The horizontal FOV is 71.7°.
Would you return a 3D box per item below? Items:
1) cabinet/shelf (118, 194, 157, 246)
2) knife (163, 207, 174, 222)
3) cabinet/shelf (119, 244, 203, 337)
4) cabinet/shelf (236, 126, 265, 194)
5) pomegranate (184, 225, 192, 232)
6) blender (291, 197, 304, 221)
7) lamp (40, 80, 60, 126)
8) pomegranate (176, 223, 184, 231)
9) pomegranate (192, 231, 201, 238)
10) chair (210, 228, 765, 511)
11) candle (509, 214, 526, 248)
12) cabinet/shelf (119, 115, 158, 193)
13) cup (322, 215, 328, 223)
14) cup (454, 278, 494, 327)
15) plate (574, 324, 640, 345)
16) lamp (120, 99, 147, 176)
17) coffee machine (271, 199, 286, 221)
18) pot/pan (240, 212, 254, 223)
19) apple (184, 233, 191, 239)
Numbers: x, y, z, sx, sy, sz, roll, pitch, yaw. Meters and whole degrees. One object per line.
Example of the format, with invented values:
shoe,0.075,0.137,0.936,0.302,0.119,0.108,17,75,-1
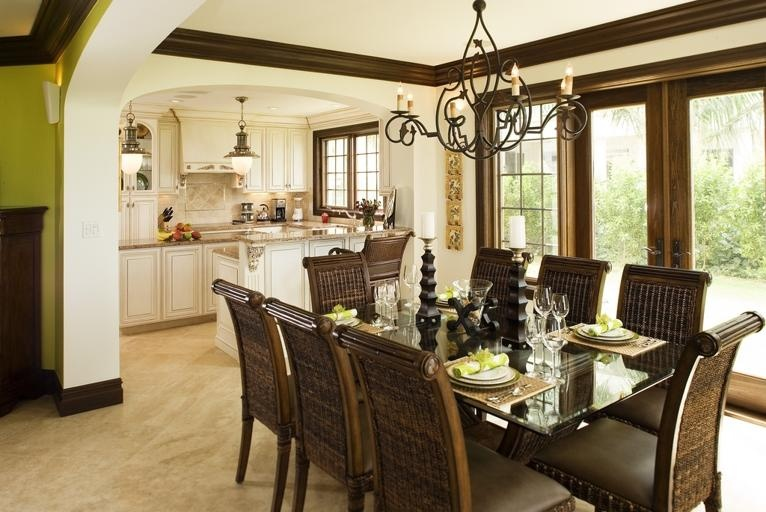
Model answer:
cabinet/shelf,-3.313,-0.564,7.238,0.454,0.769,0.447,2,34,-18
knife,-3.105,-0.572,7.591,0.133,0.214,0.244,-7,16,-22
cabinet/shelf,-2.719,0.407,6.359,1.098,1.012,0.378,-1,1,-38
cabinet/shelf,-1.965,-1.350,7.485,0.362,0.973,1.729,-4,15,-13
pomegranate,-2.525,-0.355,6.823,0.114,0.082,0.147,6,7,-20
blender,-1.443,-0.784,8.916,0.195,0.383,0.377,-3,15,-9
lamp,-2.800,-1.289,4.484,0.353,0.346,0.114,12,20,41
pomegranate,-2.586,-0.358,6.719,0.086,0.087,0.100,-22,2,6
pomegranate,-2.351,-0.257,6.658,0.080,0.051,0.084,18,9,42
chair,0.750,0.720,3.276,0.964,0.831,1.711,14,-6,-43
candle,0.803,-0.134,3.222,0.118,0.199,0.118,3,-8,-43
cabinet/shelf,-3.166,-1.256,6.577,0.393,0.946,0.394,31,27,36
cup,-0.908,-0.567,8.238,0.101,0.121,0.101,0,-3,0
cup,0.649,0.313,3.544,0.287,0.319,0.282,0,-1,0
plate,1.394,0.488,3.305,0.367,0.082,0.194,5,16,22
lamp,-2.963,-1.388,6.196,0.362,0.769,0.358,-6,19,-42
coffee machine,-1.739,-0.762,8.848,0.229,0.345,0.310,-4,15,-10
pot/pan,-2.177,-0.601,8.460,0.169,0.156,0.168,-1,5,-21
apple,-2.461,-0.245,6.635,0.080,0.095,0.077,-8,9,-20
